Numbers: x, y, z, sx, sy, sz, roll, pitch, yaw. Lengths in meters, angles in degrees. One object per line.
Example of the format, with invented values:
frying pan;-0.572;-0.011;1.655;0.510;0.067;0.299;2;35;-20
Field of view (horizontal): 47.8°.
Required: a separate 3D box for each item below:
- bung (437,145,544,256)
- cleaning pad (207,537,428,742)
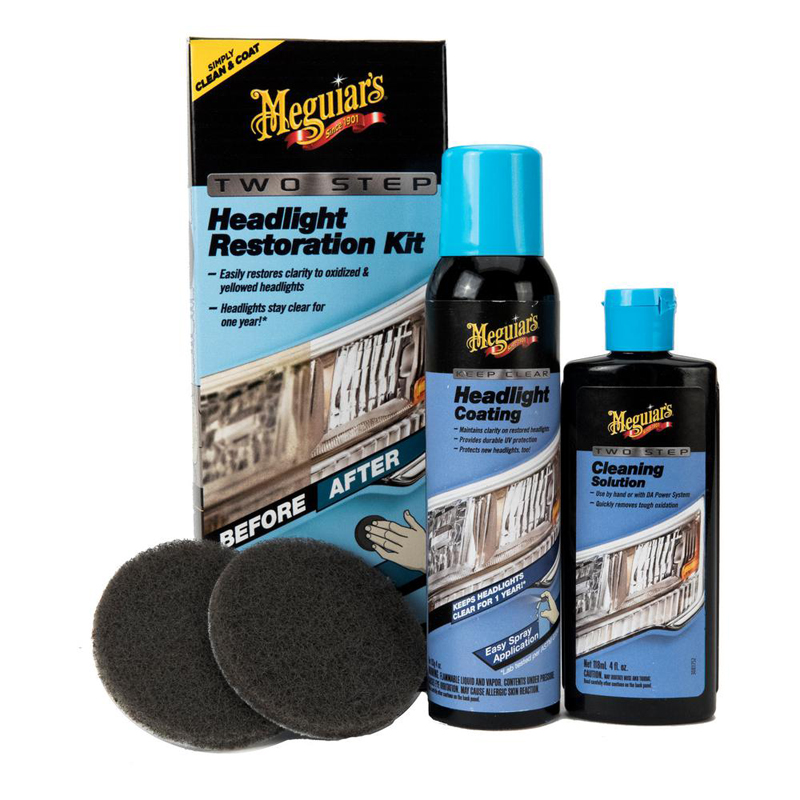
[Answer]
bung;0.141;-0.290;1.328;0.191;0.168;0.170;0;3;-1
cleaning pad;-0.123;0.370;1.415;0.331;0.256;0.205;-6;13;-16
